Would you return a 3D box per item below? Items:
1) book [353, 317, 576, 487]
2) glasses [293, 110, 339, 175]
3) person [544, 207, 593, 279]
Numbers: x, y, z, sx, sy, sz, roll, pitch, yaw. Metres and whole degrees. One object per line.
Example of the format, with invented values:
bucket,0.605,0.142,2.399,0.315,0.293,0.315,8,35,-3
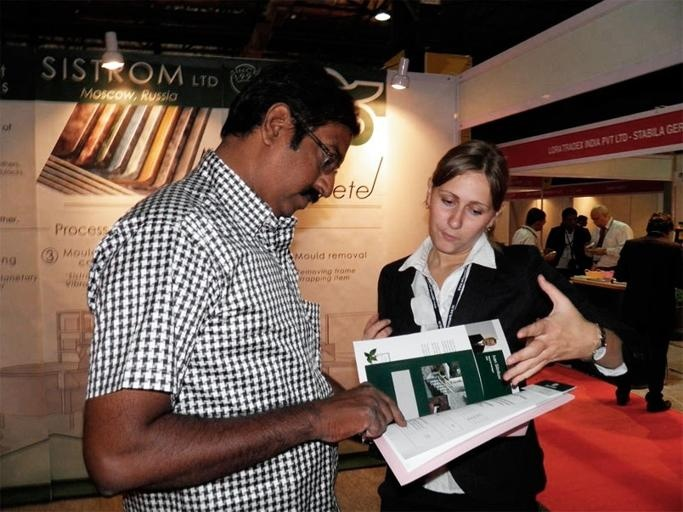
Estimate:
book,0.307,0.494,1.635,0.671,0.533,0.228,-10,-36,-18
glasses,-0.091,-0.343,1.489,0.164,0.161,0.052,34,41,31
person,3.667,0.075,7.999,0.774,1.674,0.494,4,-11,25
